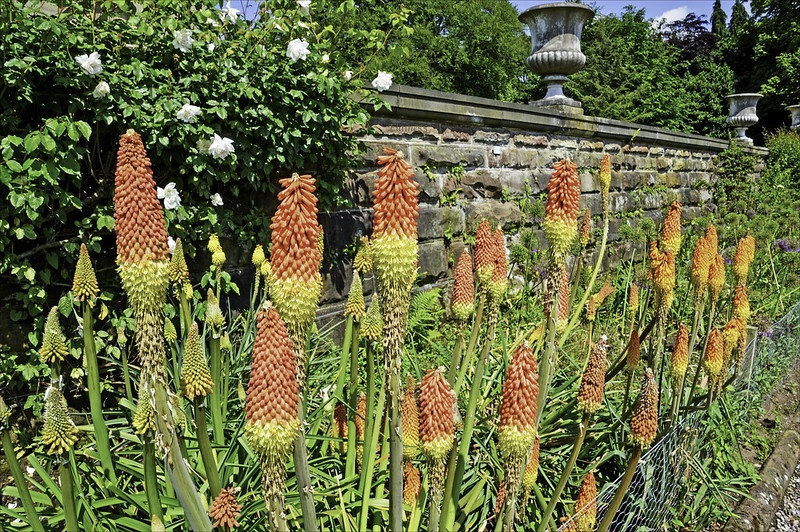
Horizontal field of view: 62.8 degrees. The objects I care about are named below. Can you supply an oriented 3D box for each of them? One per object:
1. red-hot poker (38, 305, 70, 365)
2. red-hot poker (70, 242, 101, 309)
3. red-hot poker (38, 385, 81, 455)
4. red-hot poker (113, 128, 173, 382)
[{"bbox_3d":[-2.291,0.456,4.318,0.154,0.396,0.331,-4,7,-30],"label":"red-hot poker"},{"bbox_3d":[-2.065,0.067,4.290,0.135,0.421,0.325,-4,6,-26],"label":"red-hot poker"},{"bbox_3d":[-2.065,0.954,3.962,0.192,0.496,0.424,-4,7,-29],"label":"red-hot poker"},{"bbox_3d":[-1.490,-0.061,3.795,0.284,1.443,0.230,-1,6,-2],"label":"red-hot poker"}]
